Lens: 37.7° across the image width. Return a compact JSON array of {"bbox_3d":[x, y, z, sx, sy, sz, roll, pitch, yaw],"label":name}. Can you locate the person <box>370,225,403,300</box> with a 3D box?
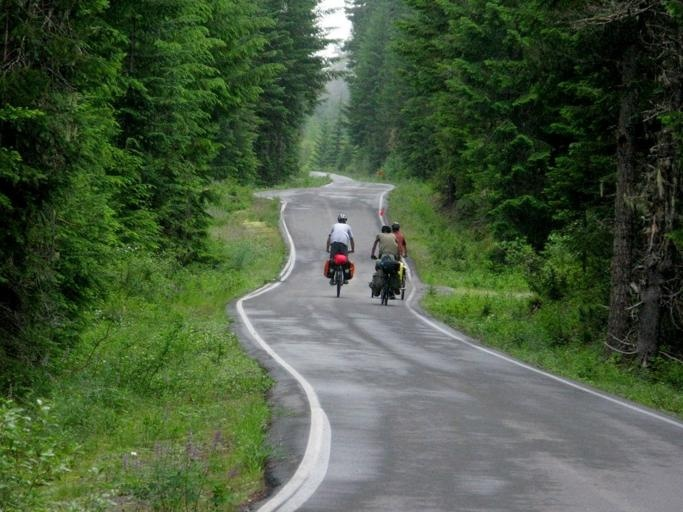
[{"bbox_3d":[1.333,0.248,30.164,0.931,2.450,1.454,3,7,2],"label":"person"}]

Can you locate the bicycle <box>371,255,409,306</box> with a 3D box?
[{"bbox_3d":[1.405,0.666,30.592,0.727,1.096,1.762,2,5,1],"label":"bicycle"}]

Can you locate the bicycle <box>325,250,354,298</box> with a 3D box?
[{"bbox_3d":[-0.098,0.401,31.423,0.613,0.927,1.501,3,11,0],"label":"bicycle"}]

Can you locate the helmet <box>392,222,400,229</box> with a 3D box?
[{"bbox_3d":[1.584,-0.896,29.998,0.171,0.260,0.243,3,17,6],"label":"helmet"}]
